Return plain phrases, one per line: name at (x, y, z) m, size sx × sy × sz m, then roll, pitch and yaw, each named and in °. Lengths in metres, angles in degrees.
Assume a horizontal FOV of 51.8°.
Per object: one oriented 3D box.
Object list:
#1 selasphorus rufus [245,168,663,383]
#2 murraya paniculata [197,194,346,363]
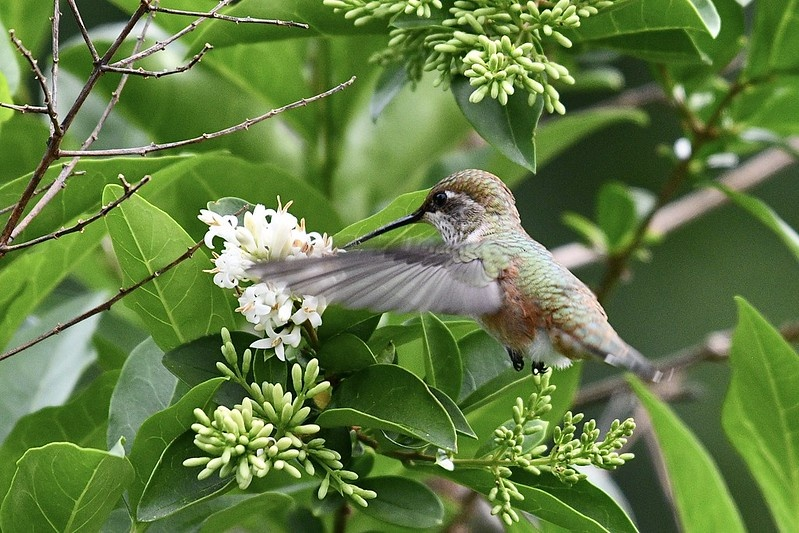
selasphorus rufus at (0.208, 0.001, 1.889) m, size 0.947 × 0.480 × 0.781 m, roll 9°, pitch -5°, yaw -43°
murraya paniculata at (-0.226, -0.009, 1.611) m, size 0.198 × 0.347 × 0.259 m, roll -2°, pitch 9°, yaw 4°
